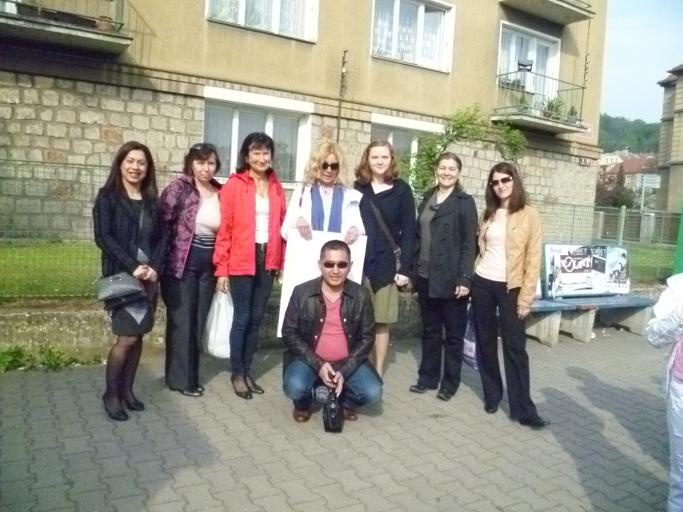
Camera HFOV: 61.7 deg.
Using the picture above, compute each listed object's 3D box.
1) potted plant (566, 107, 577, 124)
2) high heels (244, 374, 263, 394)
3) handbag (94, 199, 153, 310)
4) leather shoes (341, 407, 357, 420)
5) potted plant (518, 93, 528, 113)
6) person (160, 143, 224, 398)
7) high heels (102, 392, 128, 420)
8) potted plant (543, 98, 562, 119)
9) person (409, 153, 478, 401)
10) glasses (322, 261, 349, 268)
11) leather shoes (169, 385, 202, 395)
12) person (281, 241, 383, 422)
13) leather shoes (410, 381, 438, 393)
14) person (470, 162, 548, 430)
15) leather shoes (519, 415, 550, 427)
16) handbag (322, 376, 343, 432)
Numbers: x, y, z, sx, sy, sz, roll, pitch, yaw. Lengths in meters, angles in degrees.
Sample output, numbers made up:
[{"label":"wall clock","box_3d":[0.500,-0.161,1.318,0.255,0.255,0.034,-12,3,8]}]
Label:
[{"label":"potted plant","box_3d":[7.724,-4.750,19.109,0.329,0.612,0.928,7,11,21]},{"label":"high heels","box_3d":[-0.963,1.429,6.289,0.097,0.128,0.299,-9,-2,-25]},{"label":"handbag","box_3d":[-2.026,0.045,5.335,0.257,0.888,0.525,4,0,-36]},{"label":"leather shoes","box_3d":[0.087,1.612,5.798,0.114,0.075,0.182,5,-3,-12]},{"label":"potted plant","box_3d":[5.685,-4.818,17.851,0.267,0.613,0.893,6,11,16]},{"label":"person","box_3d":[-1.570,0.148,6.047,0.619,2.647,0.473,-4,12,-38]},{"label":"high heels","box_3d":[-2.206,1.452,5.556,0.132,0.152,0.377,5,7,-44]},{"label":"potted plant","box_3d":[6.797,-4.797,18.436,0.920,0.715,0.459,-6,13,-41]},{"label":"person","box_3d":[1.134,0.222,6.434,0.708,2.737,0.557,8,11,26]},{"label":"glasses","box_3d":[-0.057,0.084,5.597,0.237,0.065,0.057,3,10,-3]},{"label":"leather shoes","box_3d":[-1.623,1.454,6.101,0.229,0.072,0.137,0,0,6]},{"label":"person","box_3d":[-0.083,0.763,5.674,1.005,1.806,0.632,2,10,-7]},{"label":"leather shoes","box_3d":[0.961,1.520,6.632,0.323,0.141,0.120,5,-4,-18]},{"label":"person","box_3d":[1.789,0.371,6.067,0.437,2.675,0.990,-5,13,-40]},{"label":"leather shoes","box_3d":[1.968,1.679,5.891,0.326,0.152,0.116,-3,4,24]},{"label":"handbag","box_3d":[-0.080,1.478,5.529,0.203,0.385,0.138,-2,5,10]}]
